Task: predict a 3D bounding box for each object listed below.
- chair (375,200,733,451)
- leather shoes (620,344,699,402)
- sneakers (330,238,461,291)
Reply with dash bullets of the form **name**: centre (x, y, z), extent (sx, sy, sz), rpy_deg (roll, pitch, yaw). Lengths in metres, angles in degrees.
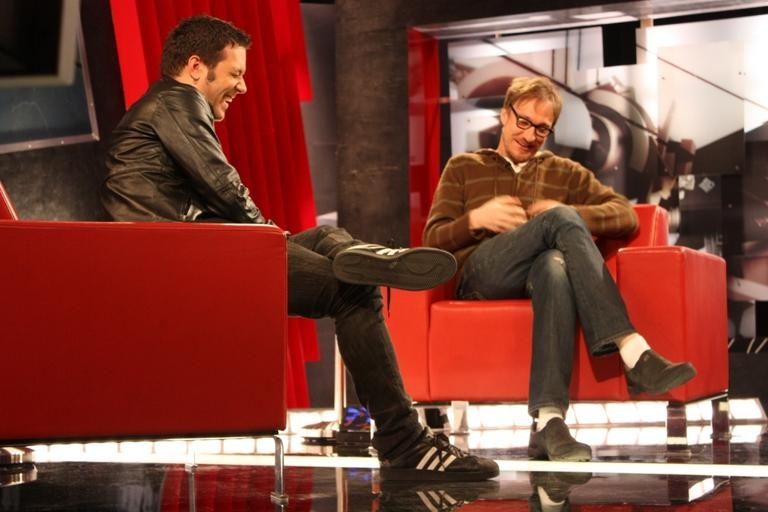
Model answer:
- **chair**: centre (0.760, 0.070, 3.230), extent (1.405, 0.914, 0.767), rpy_deg (-5, -14, 27)
- **leather shoes**: centre (0.920, 0.387, 2.682), extent (0.135, 0.115, 0.235), rpy_deg (-32, 11, -37)
- **sneakers**: centre (0.043, 0.033, 2.468), extent (0.400, 0.140, 0.156), rpy_deg (3, 6, 5)
